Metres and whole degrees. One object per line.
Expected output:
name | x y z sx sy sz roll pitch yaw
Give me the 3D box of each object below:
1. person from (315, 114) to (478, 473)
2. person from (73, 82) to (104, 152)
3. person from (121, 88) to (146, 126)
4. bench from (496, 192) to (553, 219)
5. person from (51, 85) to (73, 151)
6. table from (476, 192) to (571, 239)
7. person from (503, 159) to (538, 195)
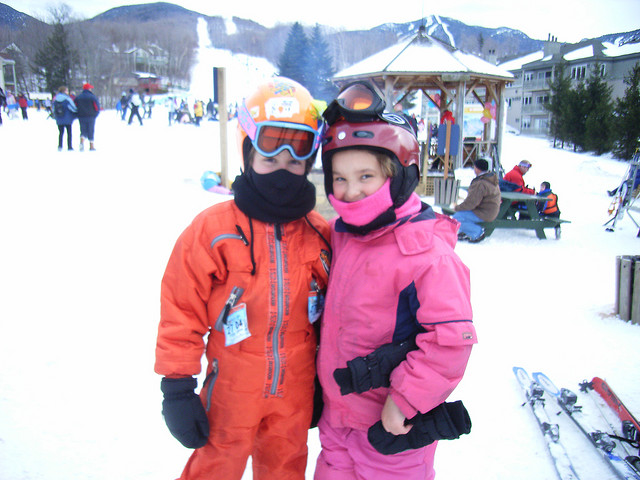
person | 0.505 0.449 3.884 1.022 2.573 0.847 2 14 0
person | -6.069 -3.244 14.324 0.600 1.646 2.232 -4 17 -23
person | -8.278 -5.910 24.267 0.819 1.568 0.810 0 12 -17
bench | 3.739 -0.676 10.432 0.944 0.421 0.749 1 16 -5
person | -6.372 -3.023 13.555 0.401 1.528 1.466 -4 16 -24
table | 3.771 -0.364 10.346 1.479 0.938 1.648 1 20 -14
person | 4.107 -1.343 11.343 0.616 0.530 1.205 7 16 18
